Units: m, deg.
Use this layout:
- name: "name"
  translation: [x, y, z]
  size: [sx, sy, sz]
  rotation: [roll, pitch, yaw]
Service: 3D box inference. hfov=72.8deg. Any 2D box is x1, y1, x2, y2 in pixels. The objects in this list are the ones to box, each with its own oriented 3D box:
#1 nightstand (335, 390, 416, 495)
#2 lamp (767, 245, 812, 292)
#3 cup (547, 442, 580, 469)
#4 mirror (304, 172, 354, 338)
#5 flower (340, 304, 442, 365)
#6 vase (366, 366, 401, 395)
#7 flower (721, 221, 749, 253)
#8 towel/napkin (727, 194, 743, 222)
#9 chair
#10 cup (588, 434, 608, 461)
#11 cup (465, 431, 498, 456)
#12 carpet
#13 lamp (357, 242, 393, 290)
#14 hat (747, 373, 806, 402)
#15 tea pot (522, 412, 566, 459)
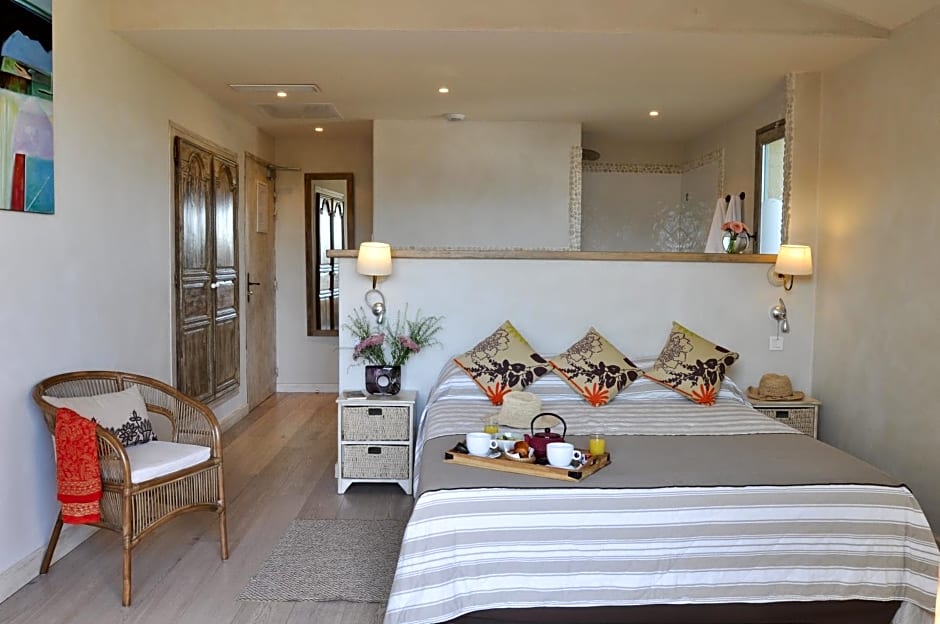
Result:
- name: "nightstand"
  translation: [-0.623, 0.960, 5.059]
  size: [0.716, 0.939, 0.665]
  rotation: [1, 8, -2]
- name: "lamp"
  translation: [2.551, -0.328, 4.985]
  size: [0.384, 0.379, 0.291]
  rotation: [0, 12, 2]
- name: "cup"
  translation: [0.490, 0.749, 3.359]
  size: [0.150, 0.104, 0.118]
  rotation: [2, 1, 7]
- name: "mirror"
  translation: [-1.630, -0.662, 7.434]
  size: [0.616, 1.895, 0.428]
  rotation: [-2, 12, -5]
- name: "flower"
  translation: [-0.566, 0.258, 5.098]
  size: [0.571, 0.392, 0.648]
  rotation: [-10, -17, 40]
- name: "vase"
  translation: [-0.673, 0.520, 4.894]
  size: [0.237, 0.203, 0.222]
  rotation: [0, -4, -3]
- name: "flower"
  translation: [2.232, -0.619, 5.385]
  size: [0.187, 0.254, 0.387]
  rotation: [4, 12, 20]
- name: "towel/napkin"
  translation: [2.491, -0.986, 6.031]
  size: [0.092, 0.252, 0.261]
  rotation: [-2, 11, -5]
- name: "chair"
  translation: [-2.092, 0.981, 3.890]
  size: [0.920, 1.136, 0.908]
  rotation: [2, 3, 26]
- name: "cup"
  translation: [0.718, 0.749, 3.572]
  size: [0.124, 0.145, 0.125]
  rotation: [0, 3, 0]
- name: "cup"
  translation: [0.057, 0.726, 3.488]
  size: [0.131, 0.093, 0.105]
  rotation: [5, -4, -18]
- name: "carpet"
  translation: [-0.864, 1.512, 3.967]
  size: [0.812, 0.053, 0.856]
  rotation: [0, 11, 0]
- name: "lamp"
  translation: [-0.738, -0.349, 4.931]
  size: [0.278, 0.356, 0.221]
  rotation: [-2, 12, -8]
- name: "hat"
  translation: [2.363, 0.597, 4.947]
  size: [0.293, 0.109, 0.262]
  rotation: [-9, 9, -13]
- name: "tea pot"
  translation: [0.419, 0.696, 3.661]
  size: [0.244, 0.255, 0.192]
  rotation: [7, 5, 28]
